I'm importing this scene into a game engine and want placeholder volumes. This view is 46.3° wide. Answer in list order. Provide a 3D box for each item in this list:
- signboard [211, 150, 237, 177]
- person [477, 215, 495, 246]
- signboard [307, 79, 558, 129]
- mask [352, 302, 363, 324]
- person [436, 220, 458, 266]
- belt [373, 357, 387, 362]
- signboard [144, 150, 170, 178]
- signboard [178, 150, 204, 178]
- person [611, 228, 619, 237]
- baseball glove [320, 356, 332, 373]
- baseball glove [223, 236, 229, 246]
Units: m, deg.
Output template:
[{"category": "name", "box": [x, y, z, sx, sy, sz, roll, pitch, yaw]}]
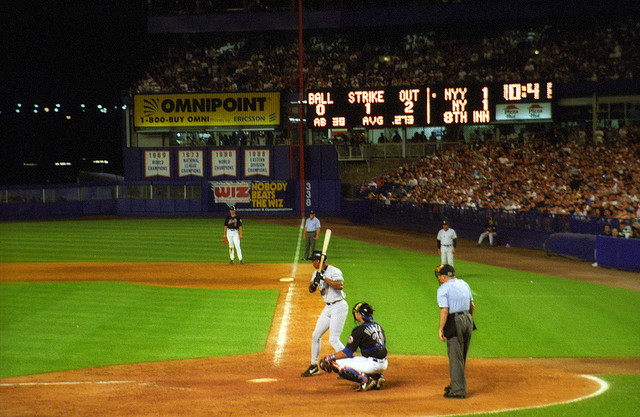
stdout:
[{"category": "signboard", "box": [-8.646, -4.036, 67.111, 3.358, 3.299, 0.364, -5, 7, -45]}, {"category": "person", "box": [10.983, 1.455, 49.772, 1.016, 1.766, 1.210, -1, 3, -8]}, {"category": "signboard", "box": [8.692, -8.189, 58.386, 18.203, 3.363, 1.039, 0, 3, 12]}, {"category": "mask", "box": [1.476, 4.011, 29.221, 0.385, 0.808, 0.697, 0, 2, 0]}, {"category": "person", "box": [6.721, 1.753, 39.822, 0.919, 2.375, 1.075, 0, 3, 1]}, {"category": "belt", "box": [2.277, 5.759, 28.809, 0.476, 0.173, 0.039, -1, 3, -11]}, {"category": "signboard", "box": [-14.569, -4.132, 67.674, 2.338, 2.506, 0.250, 0, 0, 7]}, {"category": "signboard", "box": [-11.487, -4.156, 67.313, 2.266, 2.421, 0.263, 2, 0, 1]}, {"category": "person", "box": [16.664, 1.293, 42.300, 0.259, 0.480, 0.717, 0, 2, 5]}, {"category": "baseball glove", "box": [0.238, 6.112, 29.405, 0.468, 0.650, 0.551, 0, 2, 0]}, {"category": "baseball glove", "box": [-5.642, 1.896, 45.100, 0.370, 0.534, 0.184, -18, 13, 14]}]
